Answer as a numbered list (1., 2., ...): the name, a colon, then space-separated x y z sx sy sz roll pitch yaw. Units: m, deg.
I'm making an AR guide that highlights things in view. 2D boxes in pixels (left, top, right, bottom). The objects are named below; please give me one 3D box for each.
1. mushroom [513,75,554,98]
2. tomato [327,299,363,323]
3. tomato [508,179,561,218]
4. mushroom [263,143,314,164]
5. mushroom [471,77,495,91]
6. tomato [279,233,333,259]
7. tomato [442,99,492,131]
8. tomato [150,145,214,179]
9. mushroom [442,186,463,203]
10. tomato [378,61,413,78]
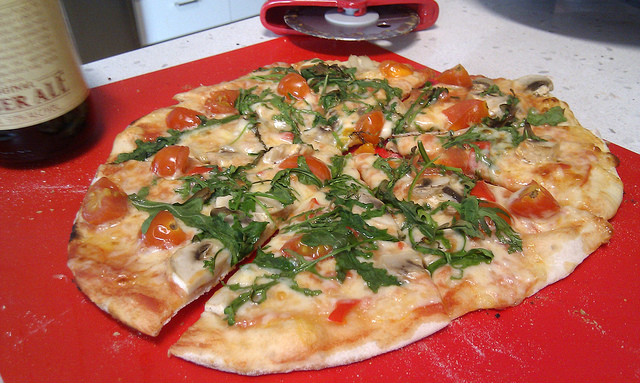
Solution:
1. mushroom: 1.465 -0.727 3.430 0.243 0.179 0.085 -3 70 21
2. tomato: 0.121 0.531 2.381 0.121 0.188 0.055 3 42 -4
3. tomato: 1.147 0.054 2.715 0.222 0.099 0.193 25 63 23
4. mushroom: -0.192 -0.234 2.963 0.193 0.044 0.134 -11 24 -18
5. mushroom: 1.108 -0.743 3.426 0.129 0.038 0.122 -17 36 -26
6. tomato: -0.071 0.278 2.476 0.262 0.055 0.101 1 53 1
7. tomato: 0.918 -0.500 3.170 0.254 0.093 0.210 -21 44 -9
8. tomato: -0.782 -0.163 2.822 0.277 0.108 0.189 6 66 16
9. mushroom: 0.724 0.006 2.815 0.150 0.041 0.045 39 65 17
10. tomato: 0.517 -0.864 3.527 0.164 0.040 0.147 16 37 17
